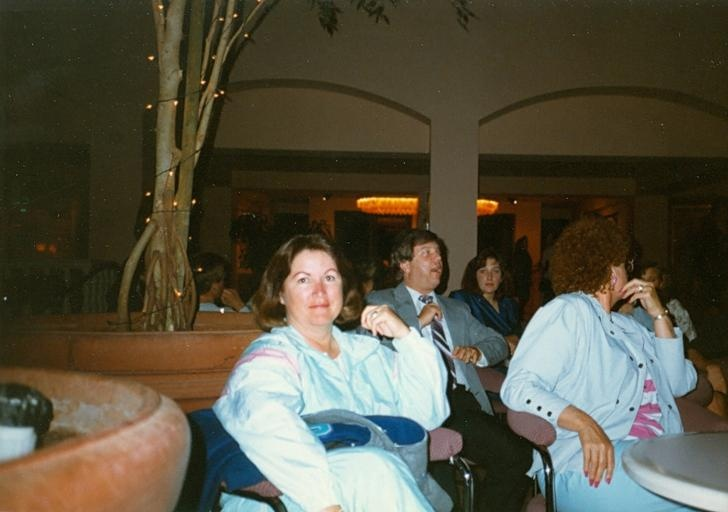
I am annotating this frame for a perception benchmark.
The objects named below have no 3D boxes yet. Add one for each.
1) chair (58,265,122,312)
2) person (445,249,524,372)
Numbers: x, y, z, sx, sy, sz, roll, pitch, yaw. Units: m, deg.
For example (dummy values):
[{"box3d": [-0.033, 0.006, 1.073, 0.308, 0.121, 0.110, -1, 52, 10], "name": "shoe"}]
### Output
[{"box3d": [-1.996, 0.239, 4.781, 0.308, 0.396, 0.578, 0, -6, 10], "name": "chair"}, {"box3d": [1.018, 0.458, 5.113, 0.618, 1.014, 0.553, 1, -9, -12], "name": "person"}]
